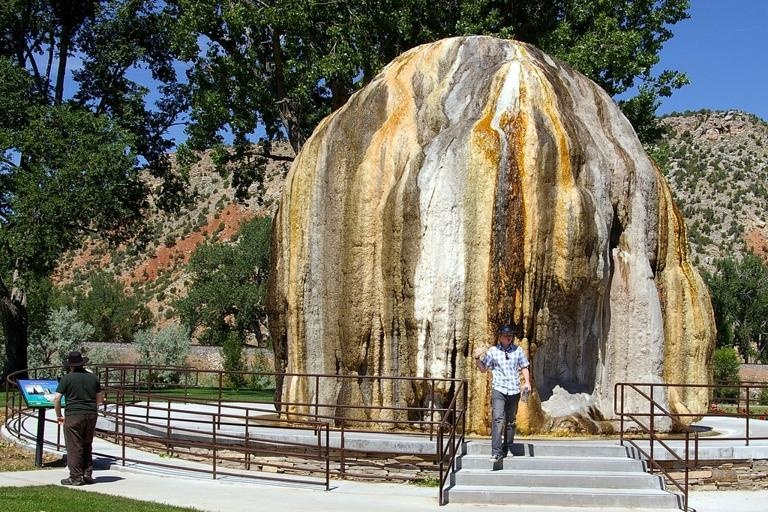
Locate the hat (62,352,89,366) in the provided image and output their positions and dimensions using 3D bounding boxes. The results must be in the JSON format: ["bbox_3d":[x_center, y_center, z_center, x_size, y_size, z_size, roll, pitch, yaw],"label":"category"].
[{"bbox_3d":[-8.319,2.786,31.106,0.767,0.288,0.797,-2,1,-16],"label":"hat"}]

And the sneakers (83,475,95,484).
[{"bbox_3d":[-7.774,5.861,30.348,0.221,0.143,0.177,4,-5,-38],"label":"sneakers"}]

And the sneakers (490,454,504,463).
[{"bbox_3d":[2.979,5.321,30.378,0.152,0.167,0.414,-8,-20,34],"label":"sneakers"}]
